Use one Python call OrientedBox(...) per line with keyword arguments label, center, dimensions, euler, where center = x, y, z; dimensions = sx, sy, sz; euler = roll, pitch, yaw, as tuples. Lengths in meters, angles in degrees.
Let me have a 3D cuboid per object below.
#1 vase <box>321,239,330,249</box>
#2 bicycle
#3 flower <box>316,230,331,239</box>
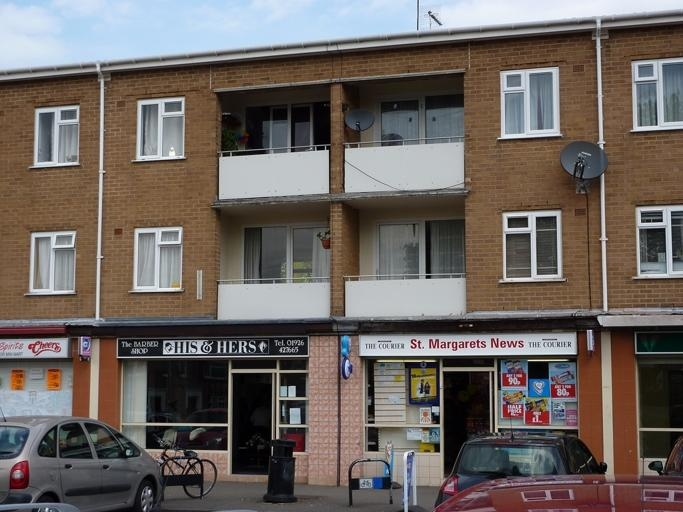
OrientedBox(label="vase", center=(-0.422, -0.306, 36.363), dimensions=(0.208, 0.172, 0.217), euler=(0, -1, 27))
OrientedBox(label="bicycle", center=(-3.768, 5.226, 33.008), dimensions=(1.958, 1.304, 0.897), euler=(12, -18, -39))
OrientedBox(label="flower", center=(-0.481, -0.549, 36.642), dimensions=(0.249, 0.307, 0.591), euler=(2, -9, -17))
